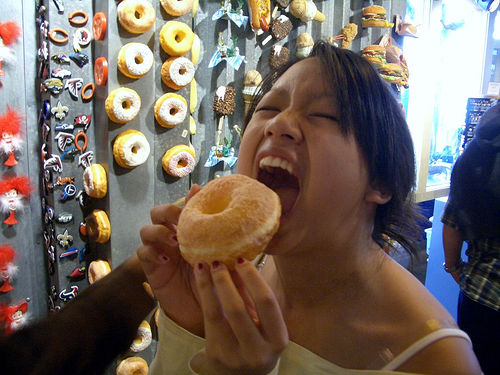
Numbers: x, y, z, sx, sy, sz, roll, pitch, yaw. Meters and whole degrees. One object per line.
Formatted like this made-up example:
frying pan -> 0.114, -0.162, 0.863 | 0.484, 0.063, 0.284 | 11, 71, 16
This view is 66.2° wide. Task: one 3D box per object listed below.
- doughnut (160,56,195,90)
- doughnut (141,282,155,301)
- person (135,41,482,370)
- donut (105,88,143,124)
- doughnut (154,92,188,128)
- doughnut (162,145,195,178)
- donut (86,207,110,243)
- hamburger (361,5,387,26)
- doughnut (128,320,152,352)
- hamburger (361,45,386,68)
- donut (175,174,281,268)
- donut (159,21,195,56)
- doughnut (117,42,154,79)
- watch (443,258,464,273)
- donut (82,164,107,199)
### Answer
doughnut -> -0.516, -0.818, 2.744 | 0.211, 0.234, 0.073 | -11, 18, -29
doughnut -> -0.346, 0.352, 1.306 | 0.016, 0.061, 0.059 | -28, -7, -4
person -> 0.198, 0.098, 1.370 | 1.132, 1.257, 0.704 | -6, 10, -20
donut -> -0.844, -0.546, 2.566 | 0.207, 0.226, 0.074 | -18, 24, -41
doughnut -> -0.569, -0.566, 2.761 | 0.220, 0.244, 0.077 | -12, 22, -31
doughnut -> -0.528, -0.199, 2.892 | 0.218, 0.238, 0.081 | 9, 3, -33
donut -> -1.089, 0.275, 2.740 | 0.226, 0.243, 0.075 | 28, 23, 35
hamburger -> 1.239, -1.716, 3.823 | 0.193, 0.154, 0.207 | 2, 24, 6
doughnut -> -0.805, 1.113, 2.836 | 0.142, 0.084, 0.204 | 23, 40, -10
hamburger -> 1.203, -1.244, 3.646 | 0.265, 0.227, 0.153 | -6, 10, -16
donut -> -0.093, 0.094, 1.264 | 0.310, 0.139, 0.370 | -5, 39, 8
donut -> -0.521, -1.055, 2.706 | 0.221, 0.241, 0.074 | 1, 7, -33
doughnut -> -0.760, -0.850, 2.563 | 0.223, 0.235, 0.072 | -19, 21, -35
watch -> 1.302, 0.506, 2.480 | 0.106, 0.032, 0.108 | -44, 14, 20
donut -> -1.089, -0.029, 2.717 | 0.139, 0.258, 0.215 | -8, 10, -29
